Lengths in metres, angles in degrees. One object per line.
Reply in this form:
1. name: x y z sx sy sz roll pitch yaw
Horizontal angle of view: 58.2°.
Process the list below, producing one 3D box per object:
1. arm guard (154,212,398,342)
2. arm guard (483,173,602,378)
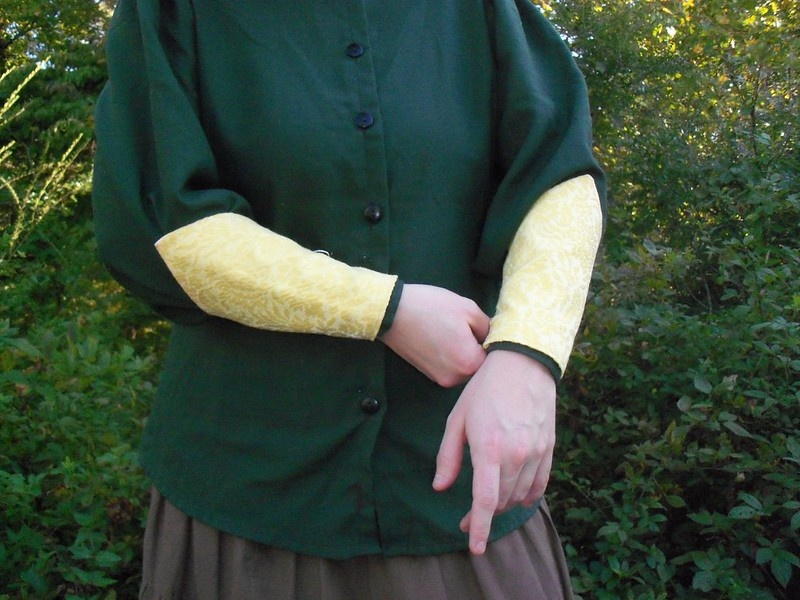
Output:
1. arm guard: -0.266 -0.026 1.655 0.515 0.225 0.183 16 -14 5
2. arm guard: 0.349 -0.059 1.650 0.235 0.435 0.160 13 -15 24
